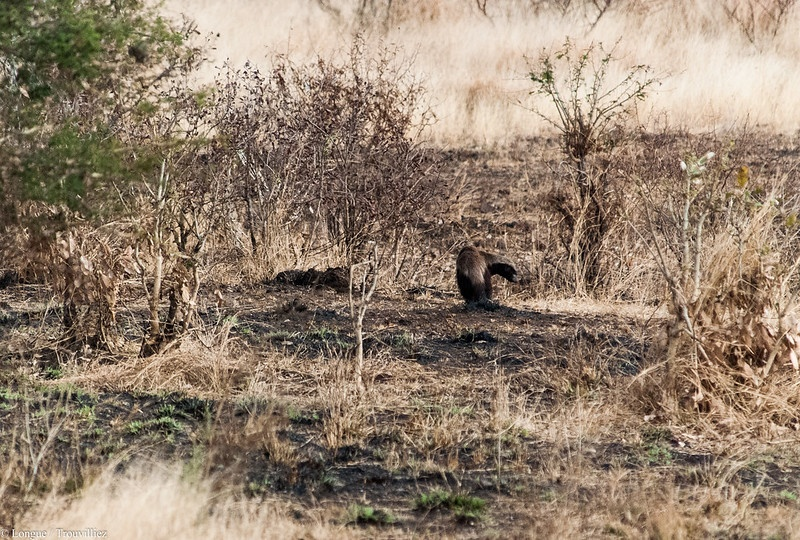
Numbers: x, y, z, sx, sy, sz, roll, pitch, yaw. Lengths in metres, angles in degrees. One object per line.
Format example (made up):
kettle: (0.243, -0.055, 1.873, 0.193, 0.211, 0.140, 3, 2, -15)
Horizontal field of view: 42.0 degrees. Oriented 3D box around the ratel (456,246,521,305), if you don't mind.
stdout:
ratel: (1.200, 0.044, 14.215, 1.079, 0.636, 0.328, -23, 7, -34)
